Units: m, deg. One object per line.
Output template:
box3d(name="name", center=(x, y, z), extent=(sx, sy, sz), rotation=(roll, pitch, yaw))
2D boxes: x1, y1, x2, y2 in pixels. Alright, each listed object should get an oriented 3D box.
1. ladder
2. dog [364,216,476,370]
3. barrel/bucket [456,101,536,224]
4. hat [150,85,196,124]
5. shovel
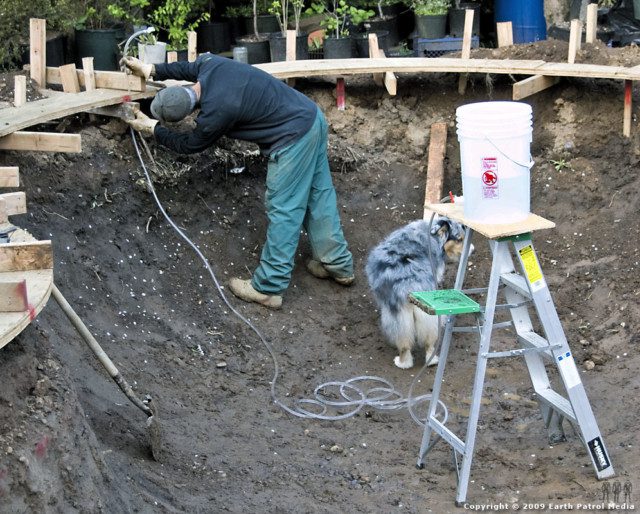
box3d(name="ladder", center=(1.259, 0.709, 5.278), extent=(1.367, 2.103, 1.214), rotation=(0, 22, -7))
box3d(name="dog", center=(0.820, 0.235, 6.262), extent=(0.585, 1.039, 1.862), rotation=(-4, 38, 26))
box3d(name="barrel/bucket", center=(1.090, -0.644, 4.724), extent=(0.509, 0.813, 0.558), rotation=(1, 22, -1))
box3d(name="hat", center=(-1.322, -1.382, 6.294), extent=(0.422, 0.309, 0.282), rotation=(-4, 16, -4))
box3d(name="shovel", center=(-1.642, 0.903, 5.292), extent=(0.131, 1.652, 0.336), rotation=(-18, 40, 6))
